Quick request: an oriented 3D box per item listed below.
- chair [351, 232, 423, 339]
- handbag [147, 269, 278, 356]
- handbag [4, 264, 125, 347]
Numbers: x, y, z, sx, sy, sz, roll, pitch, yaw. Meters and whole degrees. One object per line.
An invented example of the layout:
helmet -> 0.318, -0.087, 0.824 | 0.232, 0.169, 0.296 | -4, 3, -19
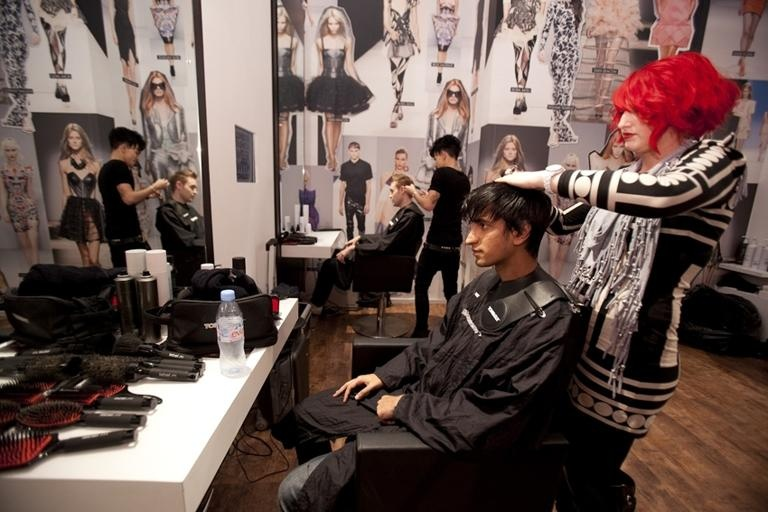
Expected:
chair -> -0.016, 0.254, 4.266 | 0.637, 0.778, 0.575 | 1, 6, -2
handbag -> -0.735, 0.222, 2.316 | 0.469, 0.223, 0.355 | 1, 6, -14
handbag -> -1.328, 0.210, 2.188 | 0.315, 0.171, 0.367 | 7, 10, -21
